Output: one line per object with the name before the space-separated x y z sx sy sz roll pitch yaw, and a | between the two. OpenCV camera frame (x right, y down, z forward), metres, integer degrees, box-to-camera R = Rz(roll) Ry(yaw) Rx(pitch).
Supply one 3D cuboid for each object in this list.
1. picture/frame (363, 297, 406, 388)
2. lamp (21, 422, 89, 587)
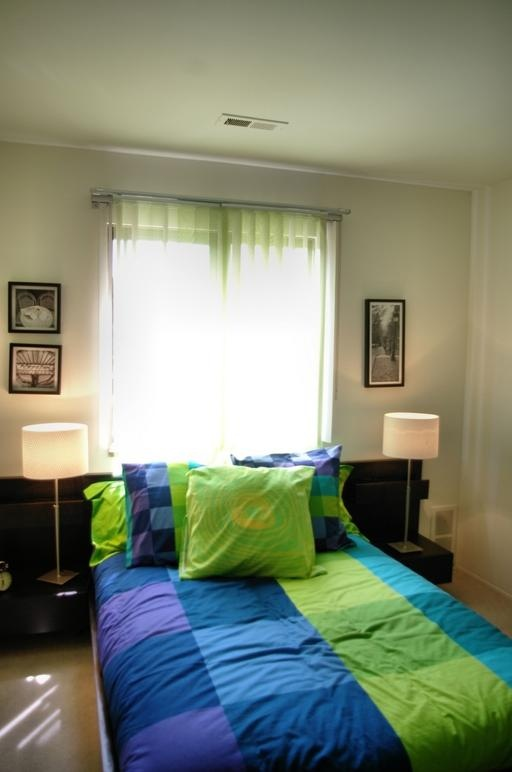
picture/frame | 0.736 -0.247 3.223 0.263 0.504 0.060 0 6 -25
lamp | -0.904 0.522 2.523 0.263 0.708 0.337 1 6 -21
